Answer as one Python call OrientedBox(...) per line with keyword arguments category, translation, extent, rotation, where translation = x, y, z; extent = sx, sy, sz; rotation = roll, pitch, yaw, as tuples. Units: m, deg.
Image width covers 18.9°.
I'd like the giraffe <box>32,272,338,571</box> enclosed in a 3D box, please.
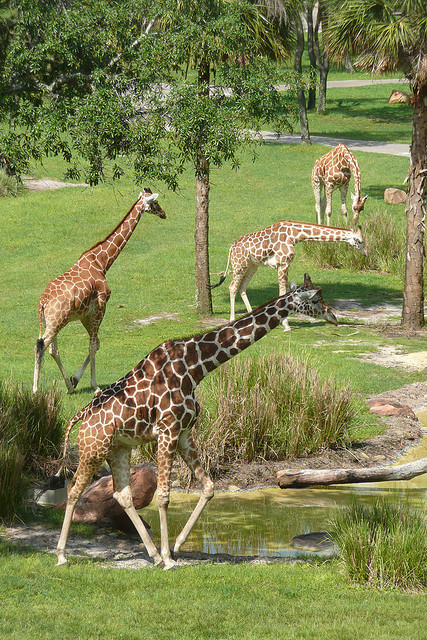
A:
OrientedBox(category="giraffe", translation=(-0.327, 1.033, 11.647), extent=(2.289, 2.356, 0.729), rotation=(-4, 7, -10))
